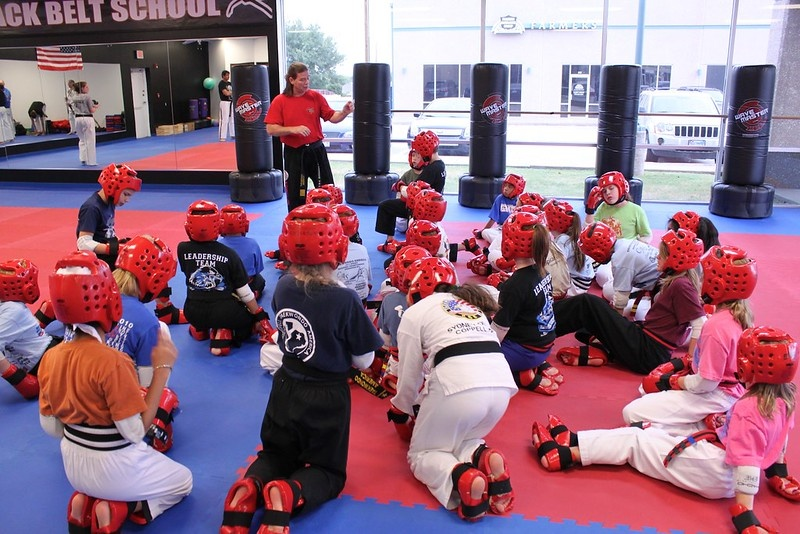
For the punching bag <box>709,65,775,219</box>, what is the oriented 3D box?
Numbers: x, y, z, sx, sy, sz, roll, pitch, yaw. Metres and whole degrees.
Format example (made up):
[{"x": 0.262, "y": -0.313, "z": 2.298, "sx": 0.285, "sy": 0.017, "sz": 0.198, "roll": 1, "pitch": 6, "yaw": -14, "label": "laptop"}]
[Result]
[{"x": 6.574, "y": -2.364, "z": 11.331, "sx": 1.227, "sy": 2.751, "sz": 1.173, "roll": -6, "pitch": 16, "yaw": -11, "label": "punching bag"}]

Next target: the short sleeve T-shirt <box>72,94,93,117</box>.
[{"x": -7.870, "y": -4.025, "z": 14.714, "sx": 0.505, "sy": 0.513, "sz": 0.295, "roll": -3, "pitch": 12, "yaw": -19, "label": "short sleeve T-shirt"}]

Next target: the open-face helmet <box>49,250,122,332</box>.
[{"x": -1.972, "y": 0.148, "z": 3.816, "sx": 0.384, "sy": 0.501, "sz": 0.517, "roll": 3, "pitch": 11, "yaw": 8, "label": "open-face helmet"}]

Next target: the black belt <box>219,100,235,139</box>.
[{"x": -4.235, "y": -3.588, "z": 14.499, "sx": 0.343, "sy": 0.753, "sz": 0.214, "roll": 10, "pitch": 7, "yaw": 34, "label": "black belt"}]

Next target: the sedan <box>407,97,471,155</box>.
[{"x": 1.097, "y": -3.411, "z": 14.749, "sx": 1.311, "sy": 1.062, "sz": 2.236, "roll": 1, "pitch": 7, "yaw": 7, "label": "sedan"}]

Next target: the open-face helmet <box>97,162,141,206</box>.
[{"x": -3.258, "y": -0.972, "z": 6.872, "sx": 0.396, "sy": 0.438, "sz": 0.450, "roll": 24, "pitch": 9, "yaw": 30, "label": "open-face helmet"}]

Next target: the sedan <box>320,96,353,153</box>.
[{"x": -1.580, "y": -3.561, "z": 14.859, "sx": 1.012, "sy": 0.897, "sz": 2.183, "roll": 0, "pitch": 9, "yaw": 3, "label": "sedan"}]

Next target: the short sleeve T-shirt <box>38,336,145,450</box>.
[{"x": -2.058, "y": 0.853, "z": 3.993, "sx": 0.737, "sy": 0.652, "sz": 0.403, "roll": 9, "pitch": 22, "yaw": 21, "label": "short sleeve T-shirt"}]

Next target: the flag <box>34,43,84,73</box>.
[{"x": -8.210, "y": -5.096, "z": 14.378, "sx": 0.748, "sy": 0.638, "sz": 0.079, "roll": 4, "pitch": 45, "yaw": 1, "label": "flag"}]

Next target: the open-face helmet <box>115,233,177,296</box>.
[{"x": -1.965, "y": 0.021, "z": 4.618, "sx": 0.407, "sy": 0.507, "sz": 0.218, "roll": -7, "pitch": 17, "yaw": -29, "label": "open-face helmet"}]

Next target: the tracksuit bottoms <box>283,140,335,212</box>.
[{"x": -1.381, "y": -1.371, "z": 9.161, "sx": 0.868, "sy": 1.283, "sz": 0.467, "roll": 0, "pitch": 34, "yaw": -3, "label": "tracksuit bottoms"}]

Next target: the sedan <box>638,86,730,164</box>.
[{"x": 6.109, "y": -3.171, "z": 12.943, "sx": 1.178, "sy": 1.058, "sz": 2.392, "roll": 1, "pitch": 7, "yaw": 9, "label": "sedan"}]
